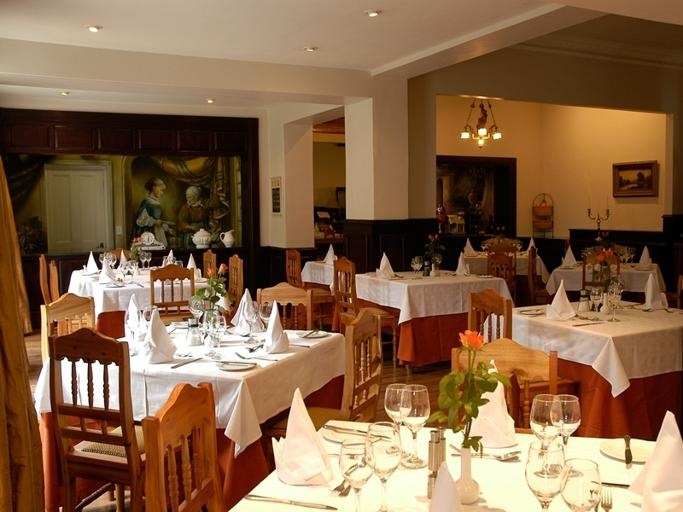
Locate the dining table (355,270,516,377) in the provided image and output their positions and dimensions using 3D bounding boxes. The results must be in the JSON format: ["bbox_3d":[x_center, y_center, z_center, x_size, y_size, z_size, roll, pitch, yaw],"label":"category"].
[{"bbox_3d":[0.820,0.596,6.590,1.105,0.698,1.157,-2,3,-27],"label":"dining table"}]

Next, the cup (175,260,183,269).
[{"bbox_3d":[-2.172,0.110,7.413,0.065,0.145,0.071,2,4,5],"label":"cup"}]

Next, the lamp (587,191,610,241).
[{"bbox_3d":[5.184,-0.682,11.170,0.393,0.653,0.682,0,6,14],"label":"lamp"}]

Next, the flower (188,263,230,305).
[{"bbox_3d":[-0.910,0.206,3.929,0.180,0.312,0.208,5,-4,20],"label":"flower"}]

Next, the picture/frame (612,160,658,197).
[{"bbox_3d":[5.573,-1.424,10.551,0.154,0.679,1.012,-3,6,-17],"label":"picture/frame"}]

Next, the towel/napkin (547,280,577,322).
[{"bbox_3d":[1.811,0.389,4.606,0.221,0.335,0.282,1,-4,14],"label":"towel/napkin"}]

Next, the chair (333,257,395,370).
[{"bbox_3d":[0.277,0.628,6.560,0.754,1.269,0.816,-1,5,27],"label":"chair"}]

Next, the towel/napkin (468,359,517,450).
[{"bbox_3d":[0.681,0.645,2.470,0.189,0.353,0.196,-17,22,-14],"label":"towel/napkin"}]

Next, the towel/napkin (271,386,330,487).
[{"bbox_3d":[-0.180,0.792,2.316,0.270,0.359,0.227,17,-33,-30],"label":"towel/napkin"}]

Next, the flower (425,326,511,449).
[{"bbox_3d":[0.461,0.470,1.987,0.229,0.360,0.199,1,-3,36],"label":"flower"}]

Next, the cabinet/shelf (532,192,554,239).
[{"bbox_3d":[4.424,-0.901,12.255,0.459,0.941,0.503,2,6,27],"label":"cabinet/shelf"}]

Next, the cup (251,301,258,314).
[{"bbox_3d":[-0.627,0.366,4.020,0.050,0.077,0.058,0,-1,11],"label":"cup"}]

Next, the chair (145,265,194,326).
[{"bbox_3d":[-1.828,0.422,5.935,0.477,1.032,0.552,-1,7,-17],"label":"chair"}]

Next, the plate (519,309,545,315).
[{"bbox_3d":[1.622,0.474,4.708,0.154,0.027,0.081,1,0,-38],"label":"plate"}]

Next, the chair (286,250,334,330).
[{"bbox_3d":[-0.406,0.464,7.680,0.595,1.106,0.615,-2,8,-8],"label":"chair"}]

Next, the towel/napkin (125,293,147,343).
[{"bbox_3d":[-1.464,0.410,3.851,0.111,0.336,0.114,4,-9,-30],"label":"towel/napkin"}]

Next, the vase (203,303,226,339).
[{"bbox_3d":[-0.866,0.445,3.736,0.157,0.298,0.177,-3,-5,32],"label":"vase"}]

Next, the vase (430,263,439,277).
[{"bbox_3d":[1.130,0.181,6.813,0.111,0.192,0.120,-2,2,-11],"label":"vase"}]

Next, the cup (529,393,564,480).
[{"bbox_3d":[0.828,0.714,2.229,0.121,0.369,0.131,-6,14,1],"label":"cup"}]
